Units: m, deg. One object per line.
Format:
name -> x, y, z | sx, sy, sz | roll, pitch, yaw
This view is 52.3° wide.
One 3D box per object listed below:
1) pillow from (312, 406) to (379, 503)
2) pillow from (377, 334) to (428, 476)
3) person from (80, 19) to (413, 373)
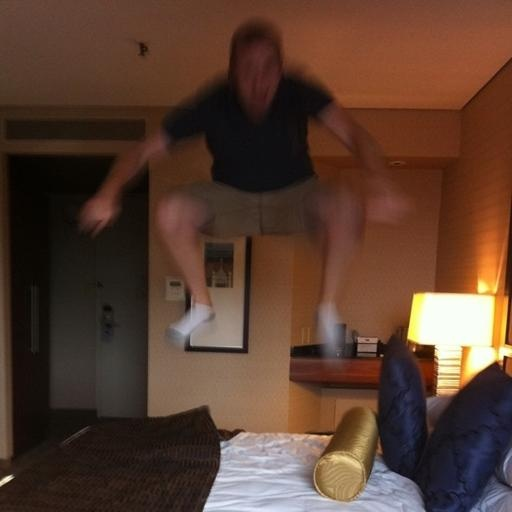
pillow -> 0.264, 0.576, 1.520 | 0.099, 0.113, 0.312 | 9, 3, 11
pillow -> 0.466, 0.485, 1.659 | 0.115, 0.389, 0.353 | -1, 17, 13
person -> -0.039, -0.196, 1.484 | 0.858, 0.941, 0.513 | -1, 2, 7
